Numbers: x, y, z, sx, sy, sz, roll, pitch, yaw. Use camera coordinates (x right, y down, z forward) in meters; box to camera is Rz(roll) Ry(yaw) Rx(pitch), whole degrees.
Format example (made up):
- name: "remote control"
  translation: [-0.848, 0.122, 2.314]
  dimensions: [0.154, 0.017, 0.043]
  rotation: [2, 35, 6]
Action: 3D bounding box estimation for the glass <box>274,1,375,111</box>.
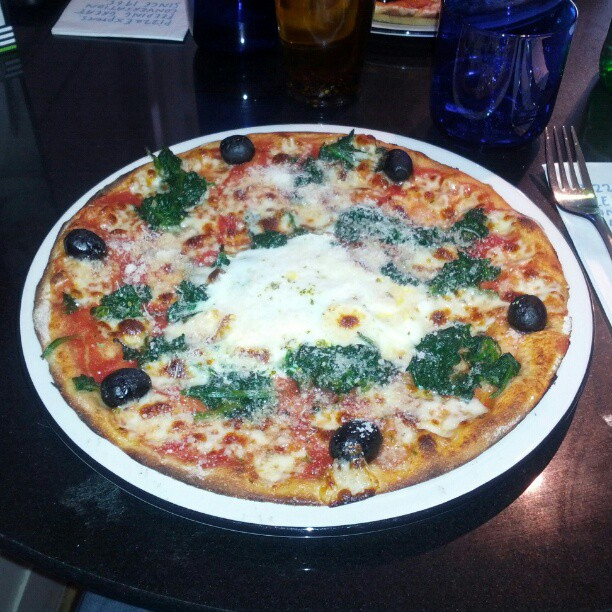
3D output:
- name: "glass"
  translation: [0.053, -0.887, 2.301]
  dimensions: [0.315, 0.486, 0.296]
  rotation: [3, 57, 1]
